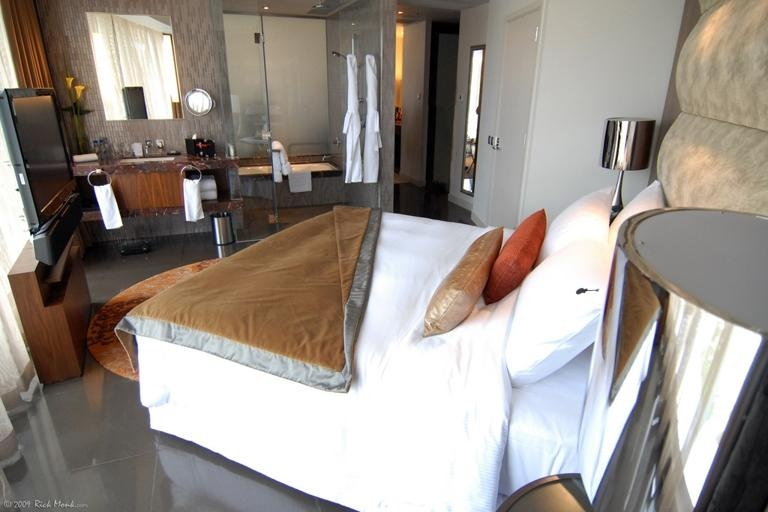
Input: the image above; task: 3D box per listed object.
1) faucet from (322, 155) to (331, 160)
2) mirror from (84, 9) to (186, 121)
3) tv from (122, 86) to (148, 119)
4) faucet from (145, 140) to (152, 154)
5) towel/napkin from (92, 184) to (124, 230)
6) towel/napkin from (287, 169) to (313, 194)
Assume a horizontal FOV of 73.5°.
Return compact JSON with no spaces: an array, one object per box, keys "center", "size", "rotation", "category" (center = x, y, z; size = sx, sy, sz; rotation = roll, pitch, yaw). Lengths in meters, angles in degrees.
[{"center":[-0.832,-1.402,7.328],"size":[0.099,0.070,0.071],"rotation":[1,21,4],"category":"faucet"},{"center":[-2.691,-2.062,5.450],"size":[1.000,1.416,0.064],"rotation":[-9,21,-28],"category":"mirror"},{"center":[-2.704,-1.666,5.551],"size":[0.254,0.480,0.049],"rotation":[-14,28,-31],"category":"tv"},{"center":[-2.612,-1.202,5.677],"size":[0.054,0.142,0.074],"rotation":[1,21,12],"category":"faucet"},{"center":[-2.744,-0.509,5.104],"size":[0.178,0.434,0.271],"rotation":[-14,23,-27],"category":"towel/napkin"},{"center":[-1.124,-0.993,6.877],"size":[0.282,0.294,0.095],"rotation":[-5,4,-16],"category":"towel/napkin"}]
